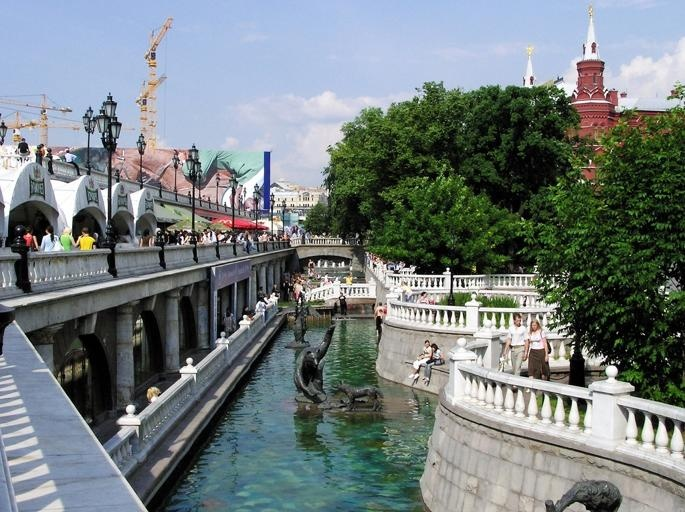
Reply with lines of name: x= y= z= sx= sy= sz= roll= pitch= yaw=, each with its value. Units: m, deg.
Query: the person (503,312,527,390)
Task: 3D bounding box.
person: x=4.376 y=2.455 z=20.291 sx=0.727 sy=3.346 sz=0.692 roll=0 pitch=1 yaw=14

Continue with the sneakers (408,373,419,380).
sneakers: x=2.397 y=4.095 z=26.910 sx=0.142 sy=0.151 sz=0.380 roll=30 pitch=-24 yaw=-25
